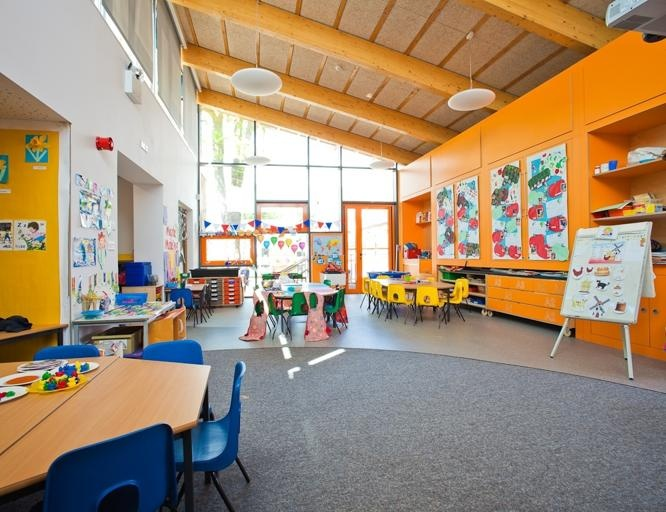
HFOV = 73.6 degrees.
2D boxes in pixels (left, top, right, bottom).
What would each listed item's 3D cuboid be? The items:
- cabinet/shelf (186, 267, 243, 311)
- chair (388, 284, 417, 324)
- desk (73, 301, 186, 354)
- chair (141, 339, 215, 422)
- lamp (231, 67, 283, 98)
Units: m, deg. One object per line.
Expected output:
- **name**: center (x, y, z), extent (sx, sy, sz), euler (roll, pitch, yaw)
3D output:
- **cabinet/shelf**: center (-2.640, 0.696, 10.355), extent (1.227, 0.941, 0.851), euler (-1, -1, -13)
- **chair**: center (1.313, 0.793, 8.530), extent (0.504, 0.864, 1.550), euler (0, 10, 8)
- **desk**: center (-2.407, 0.844, 5.403), extent (1.015, 0.630, 1.241), euler (-3, 10, -13)
- **chair**: center (-1.280, 1.036, 3.837), extent (0.604, 0.917, 0.645), euler (-1, -15, -6)
- **lamp**: center (-1.111, -2.518, 6.361), extent (0.566, 0.312, 0.565), euler (3, 11, 23)
